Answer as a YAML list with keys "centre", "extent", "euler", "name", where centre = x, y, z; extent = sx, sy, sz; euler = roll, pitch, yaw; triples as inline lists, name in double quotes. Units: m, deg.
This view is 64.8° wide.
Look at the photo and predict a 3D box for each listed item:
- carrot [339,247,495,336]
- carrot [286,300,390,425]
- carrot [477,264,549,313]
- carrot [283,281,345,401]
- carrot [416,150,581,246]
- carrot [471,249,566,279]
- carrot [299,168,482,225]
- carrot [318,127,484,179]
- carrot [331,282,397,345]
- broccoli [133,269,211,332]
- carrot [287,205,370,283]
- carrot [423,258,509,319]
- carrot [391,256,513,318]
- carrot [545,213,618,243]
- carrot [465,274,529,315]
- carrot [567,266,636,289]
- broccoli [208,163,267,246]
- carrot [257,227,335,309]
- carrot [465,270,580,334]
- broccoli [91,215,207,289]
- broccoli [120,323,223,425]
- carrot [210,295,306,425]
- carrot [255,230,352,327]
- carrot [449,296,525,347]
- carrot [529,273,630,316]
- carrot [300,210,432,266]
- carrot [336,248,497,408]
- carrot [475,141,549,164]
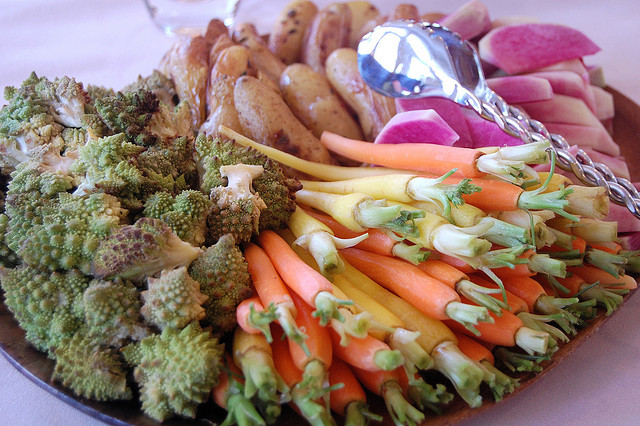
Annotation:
- centre: [0.228, 0.185, 1.153]
  extent: [0.388, 0.071, 0.082]
  euler: [21, 25, 26]
  name: "carrot"
- centre: [0.036, 0.329, 1.088]
  extent: [0.294, 0.090, 0.088]
  euler: [46, 19, 4]
  name: "carrot"
- centre: [0.501, 0.184, 1.260]
  extent: [0.076, 0.076, 0.247]
  euler: [2, 1, -41]
  name: "carrot"
- centre: [-0.009, 0.271, 1.081]
  extent: [0.078, 0.071, 0.230]
  euler: [-10, 61, -7]
  name: "carrot"
- centre: [0.421, -0.051, 1.206]
  extent: [0.330, 0.086, 0.193]
  euler: [11, 17, 40]
  name: "carrot"
- centre: [0.476, 0.121, 1.226]
  extent: [0.224, 0.069, 0.056]
  euler: [5, 14, 41]
  name: "carrot"
- centre: [0.154, -0.070, 1.252]
  extent: [0.412, 0.144, 0.098]
  euler: [5, 66, 11]
  name: "carrot"
- centre: [0.226, -0.157, 1.350]
  extent: [0.447, 0.078, 0.076]
  euler: [13, 44, 35]
  name: "carrot"
- centre: [0.074, 0.217, 1.064]
  extent: [0.083, 0.040, 0.140]
  euler: [-17, 33, -19]
  name: "carrot"
- centre: [-0.318, 0.168, 1.122]
  extent: [0.148, 0.067, 0.155]
  euler: [-18, 46, -36]
  name: "broccoli"
- centre: [-0.001, 0.054, 1.215]
  extent: [0.125, 0.058, 0.192]
  euler: [-23, 39, -7]
  name: "carrot"
- centre: [0.320, 0.165, 1.169]
  extent: [0.223, 0.068, 0.072]
  euler: [28, 58, 31]
  name: "carrot"
- centre: [0.295, 0.171, 1.156]
  extent: [0.208, 0.043, 0.039]
  euler: [29, 68, 18]
  name: "carrot"
- centre: [0.668, 0.044, 1.293]
  extent: [0.175, 0.054, 0.055]
  euler: [4, 9, 0]
  name: "carrot"
- centre: [0.411, 0.192, 1.165]
  extent: [0.122, 0.032, 0.034]
  euler: [34, 43, 20]
  name: "carrot"
- centre: [0.709, 0.165, 1.280]
  extent: [0.175, 0.046, 0.040]
  euler: [9, 4, 30]
  name: "carrot"
- centre: [-0.199, -0.021, 1.197]
  extent: [0.126, 0.079, 0.197]
  euler: [6, 64, -1]
  name: "broccoli"
- centre: [-0.080, 0.111, 1.250]
  extent: [0.083, 0.076, 0.323]
  euler: [-49, 41, 2]
  name: "carrot"
- centre: [0.500, 0.193, 1.276]
  extent: [0.303, 0.084, 0.081]
  euler: [17, 5, 44]
  name: "carrot"
- centre: [-0.411, 0.069, 1.162]
  extent: [0.283, 0.118, 0.185]
  euler: [4, 34, 0]
  name: "broccoli"
- centre: [-0.314, 0.340, 1.104]
  extent: [0.190, 0.223, 0.086]
  euler: [28, -4, -17]
  name: "broccoli"
- centre: [-0.151, 0.301, 1.097]
  extent: [0.192, 0.068, 0.277]
  euler: [-5, 56, 9]
  name: "carrot"
- centre: [-0.063, 0.134, 1.187]
  extent: [0.092, 0.102, 0.407]
  euler: [-24, 40, -22]
  name: "carrot"
- centre: [0.382, 0.238, 1.175]
  extent: [0.187, 0.082, 0.088]
  euler: [-1, 41, 40]
  name: "carrot"
- centre: [0.613, 0.216, 1.302]
  extent: [0.069, 0.053, 0.204]
  euler: [-16, 9, -17]
  name: "carrot"
- centre: [0.115, 0.062, 1.196]
  extent: [0.264, 0.047, 0.050]
  euler: [18, 63, 26]
  name: "carrot"
- centre: [0.223, 0.270, 1.128]
  extent: [0.090, 0.113, 0.424]
  euler: [-41, 64, -16]
  name: "carrot"
- centre: [0.458, -0.131, 1.170]
  extent: [0.187, 0.052, 0.052]
  euler: [3, 1, 42]
  name: "carrot"
